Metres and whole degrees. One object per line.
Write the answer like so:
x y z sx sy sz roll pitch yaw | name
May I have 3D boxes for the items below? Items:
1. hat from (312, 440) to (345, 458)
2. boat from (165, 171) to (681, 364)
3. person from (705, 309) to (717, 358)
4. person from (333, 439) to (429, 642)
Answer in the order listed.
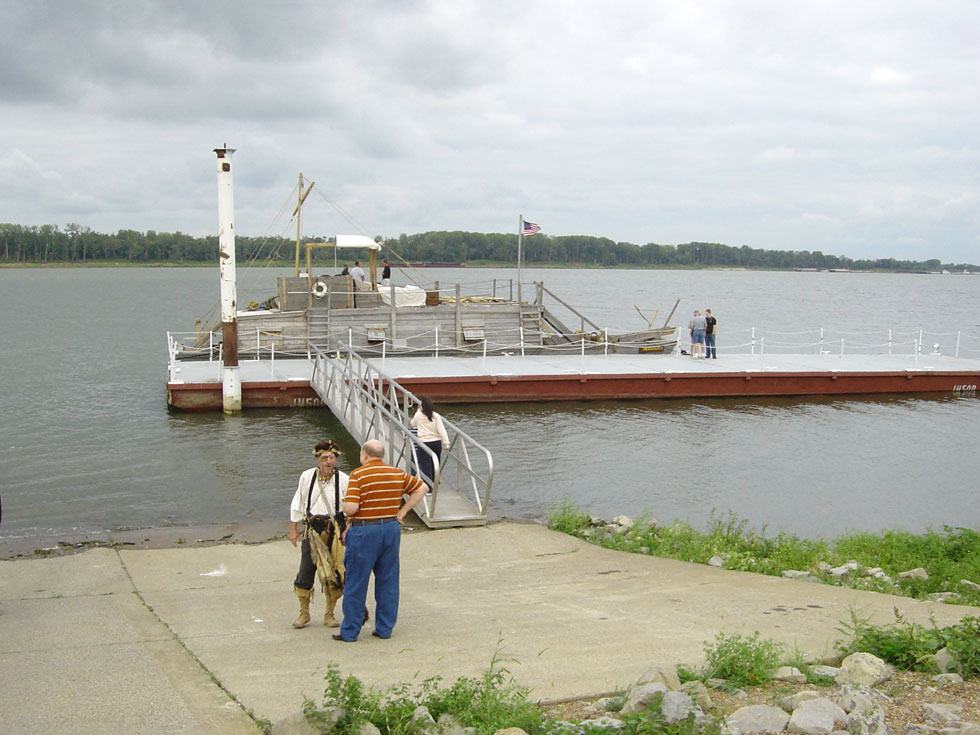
-1.774 0.866 11.339 0.417 0.226 0.557 2 -5 -3 | hat
-1.362 -2.274 31.199 15.540 5.407 4.202 0 5 -13 | boat
6.686 -1.039 31.602 0.320 1.428 1.296 0 4 12 | person
-1.189 1.766 10.738 0.891 2.028 0.334 -2 4 -19 | person
